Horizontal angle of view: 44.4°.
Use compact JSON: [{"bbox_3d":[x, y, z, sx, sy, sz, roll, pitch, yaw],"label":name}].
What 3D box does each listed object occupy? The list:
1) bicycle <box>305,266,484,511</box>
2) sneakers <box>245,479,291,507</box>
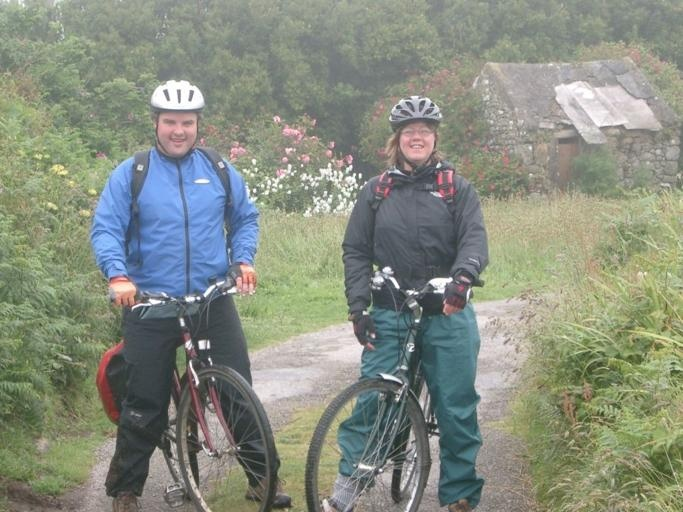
[{"bbox_3d":[0.292,1.119,6.836,1.194,1.953,0.711,-4,0,-12],"label":"bicycle"},{"bbox_3d":[-0.614,2.005,7.032,0.345,0.178,0.285,10,1,-8],"label":"sneakers"}]
